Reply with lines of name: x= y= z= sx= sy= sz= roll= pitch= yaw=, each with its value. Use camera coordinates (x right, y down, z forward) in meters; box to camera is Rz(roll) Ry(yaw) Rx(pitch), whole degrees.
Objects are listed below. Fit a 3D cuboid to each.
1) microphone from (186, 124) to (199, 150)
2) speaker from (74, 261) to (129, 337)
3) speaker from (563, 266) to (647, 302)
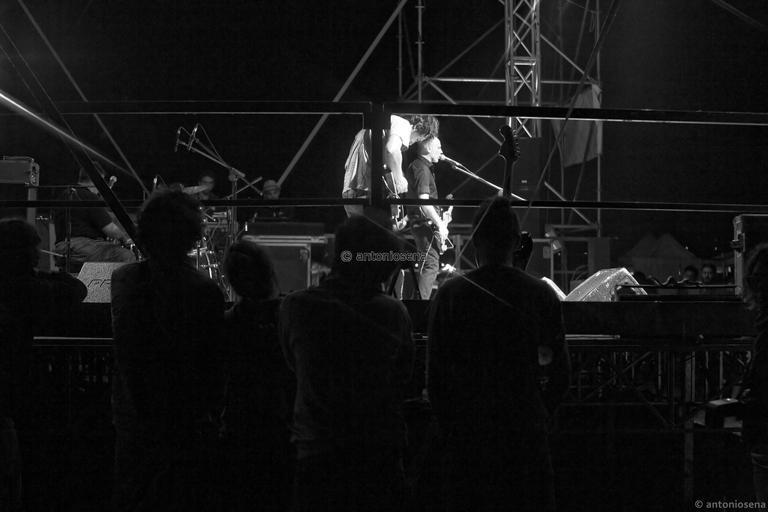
microphone: x=-2.049 y=-1.296 z=9.737 sx=0.091 sy=0.395 sz=0.102 roll=12 pitch=-46 yaw=-1
speaker: x=-2.140 y=0.343 z=6.859 sx=0.209 sy=0.135 sz=0.579 roll=4 pitch=33 yaw=-15
speaker: x=1.908 y=0.250 z=7.792 sx=0.538 sy=0.201 sz=0.358 roll=-11 pitch=10 yaw=-17
